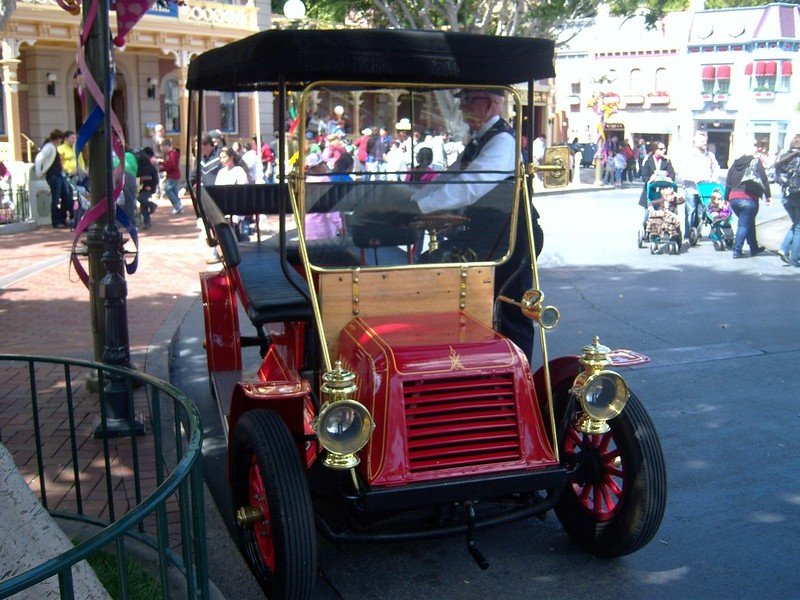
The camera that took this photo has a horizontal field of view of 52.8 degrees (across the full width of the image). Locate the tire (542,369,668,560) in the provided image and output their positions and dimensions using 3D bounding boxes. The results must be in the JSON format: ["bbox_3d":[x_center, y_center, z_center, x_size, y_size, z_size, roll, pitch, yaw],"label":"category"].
[{"bbox_3d":[1.225,1.017,4.996,0.791,1.043,0.832,-3,0,29],"label":"tire"}]

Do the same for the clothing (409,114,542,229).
[{"bbox_3d":[0.498,-0.777,5.414,0.627,1.328,0.569,-5,10,-34],"label":"clothing"}]

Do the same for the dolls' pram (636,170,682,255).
[{"bbox_3d":[4.905,-1.634,14.982,0.727,1.608,1.641,-3,-8,17],"label":"dolls' pram"}]

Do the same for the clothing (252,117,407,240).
[{"bbox_3d":[-0.441,-0.800,5.384,0.877,0.490,1.332,-5,16,-19],"label":"clothing"}]

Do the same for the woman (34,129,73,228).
[{"bbox_3d":[-7.111,-2.504,16.668,0.660,2.128,0.589,-13,33,-39],"label":"woman"}]

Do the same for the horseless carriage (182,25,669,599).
[{"bbox_3d":[-0.058,-0.184,5.574,2.410,3.156,3.476,-4,14,-18],"label":"horseless carriage"}]

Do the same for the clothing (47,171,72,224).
[{"bbox_3d":[-7.163,-2.161,16.949,0.288,1.331,0.369,-11,-1,29],"label":"clothing"}]

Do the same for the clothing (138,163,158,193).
[{"bbox_3d":[-5.397,-2.622,17.213,0.367,0.602,0.467,-3,13,-17],"label":"clothing"}]

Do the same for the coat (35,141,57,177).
[{"bbox_3d":[-7.240,-2.884,16.431,0.433,0.692,0.635,-6,14,-26],"label":"coat"}]

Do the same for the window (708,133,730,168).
[{"bbox_3d":[20.890,-9.573,52.930,1.329,2.881,1.388,5,-29,20],"label":"window"}]
